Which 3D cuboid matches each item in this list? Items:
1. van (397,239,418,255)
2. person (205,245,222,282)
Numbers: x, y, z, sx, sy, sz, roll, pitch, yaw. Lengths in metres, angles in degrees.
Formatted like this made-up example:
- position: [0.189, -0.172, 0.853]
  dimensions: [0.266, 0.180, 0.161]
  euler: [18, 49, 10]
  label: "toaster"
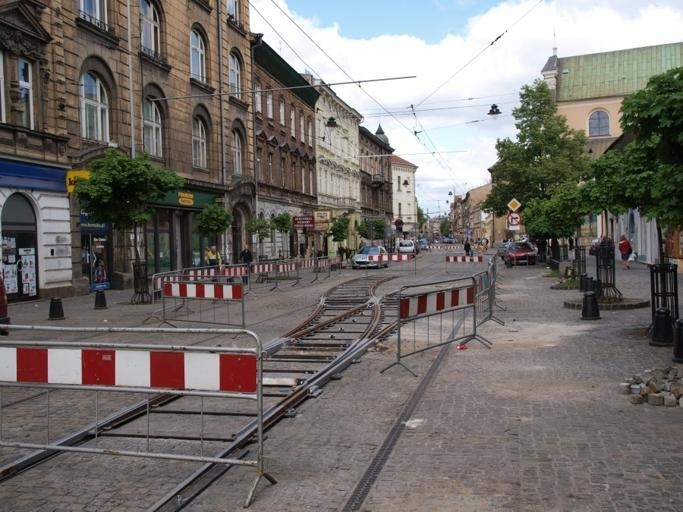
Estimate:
- position: [6.077, -0.839, 69.703]
  dimensions: [1.527, 1.352, 3.512]
  euler: [-1, -3, 6]
  label: "van"
- position: [-5.547, 0.264, 32.066]
  dimensions: [0.538, 1.605, 0.375]
  euler: [-2, 30, -17]
  label: "person"
